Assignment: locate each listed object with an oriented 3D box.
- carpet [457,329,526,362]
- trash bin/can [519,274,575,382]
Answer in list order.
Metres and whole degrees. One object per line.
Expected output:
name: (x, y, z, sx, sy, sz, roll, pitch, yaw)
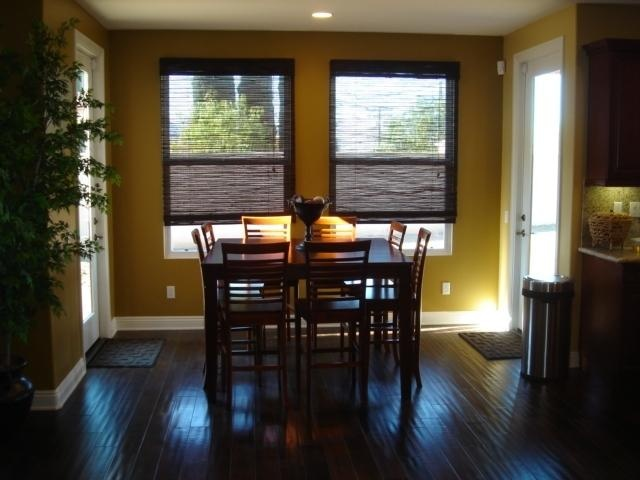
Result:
carpet: (1.870, 1.085, 5.700, 0.688, 0.042, 0.777, -1, 12, -5)
trash bin/can: (2.002, 0.794, 4.894, 0.424, 0.889, 0.262, 4, 12, 22)
